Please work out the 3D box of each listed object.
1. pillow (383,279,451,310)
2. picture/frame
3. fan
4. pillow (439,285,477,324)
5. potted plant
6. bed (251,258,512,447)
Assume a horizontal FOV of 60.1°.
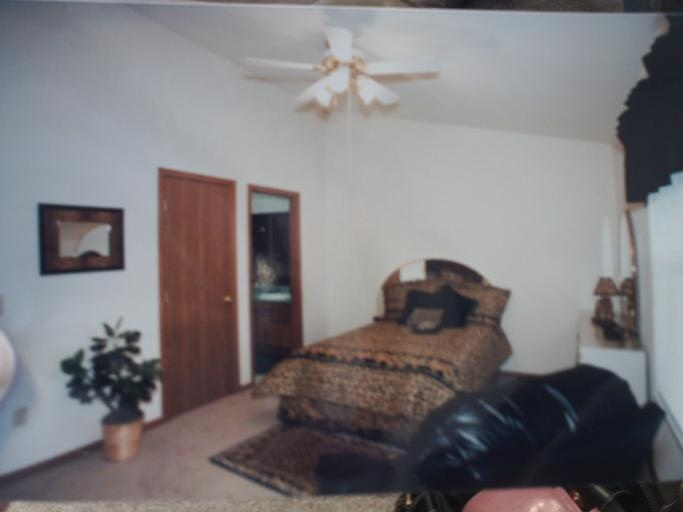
[{"bbox_3d":[0.355,0.174,2.892,0.246,0.073,0.157,-2,3,-3],"label":"pillow"},{"bbox_3d":[-1.257,-0.100,2.829,0.321,0.341,0.029,0,2,-13],"label":"picture/frame"},{"bbox_3d":[0.010,-0.938,2.932,0.749,0.160,0.732,-4,8,-37],"label":"fan"},{"bbox_3d":[0.569,0.245,2.863,0.175,0.201,0.062,0,4,6],"label":"pillow"},{"bbox_3d":[-1.064,0.658,3.159,0.598,0.890,0.589,-1,-1,2],"label":"potted plant"},{"bbox_3d":[0.203,0.416,2.872,0.795,0.572,1.101,4,9,39],"label":"bed"}]
